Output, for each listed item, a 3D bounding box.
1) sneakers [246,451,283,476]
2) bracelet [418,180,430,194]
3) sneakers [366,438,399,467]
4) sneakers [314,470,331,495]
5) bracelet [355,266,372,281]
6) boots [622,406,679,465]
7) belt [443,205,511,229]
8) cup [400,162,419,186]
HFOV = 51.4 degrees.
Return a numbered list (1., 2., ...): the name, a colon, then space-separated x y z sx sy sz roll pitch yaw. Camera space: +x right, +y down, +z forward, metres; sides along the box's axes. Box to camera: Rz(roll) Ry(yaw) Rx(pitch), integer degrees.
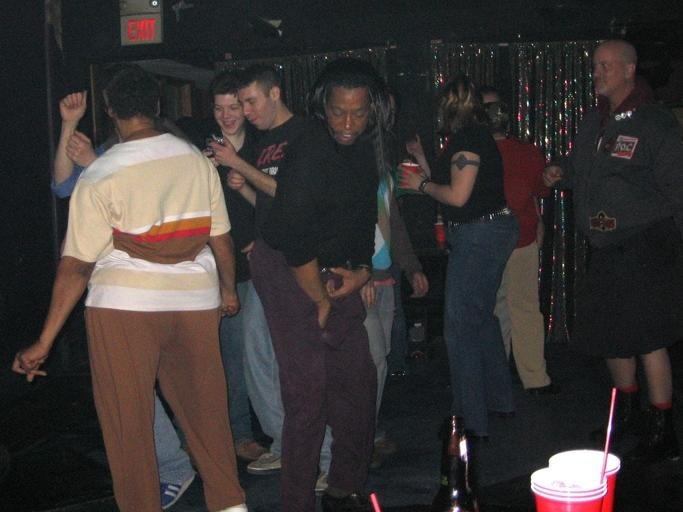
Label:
1. sneakers: -0.461 1.264 4.298 0.228 0.083 0.117 3 3 -6
2. bracelet: 0.523 -0.456 4.600 0.063 0.078 0.089 13 41 36
3. sneakers: 0.240 1.248 4.506 0.172 0.060 0.254 11 22 30
4. sneakers: -0.119 1.308 4.066 0.065 0.078 0.188 0 -8 9
5. bracelet: 0.110 0.093 3.731 0.040 0.043 0.115 2 18 5
6. boots: 1.884 1.039 4.300 0.271 0.346 0.471 0 8 25
7. belt: 0.866 -0.236 4.504 0.401 0.128 0.118 -2 8 11
8. cup: 0.450 -0.565 4.764 0.117 0.112 0.138 0 -1 5
